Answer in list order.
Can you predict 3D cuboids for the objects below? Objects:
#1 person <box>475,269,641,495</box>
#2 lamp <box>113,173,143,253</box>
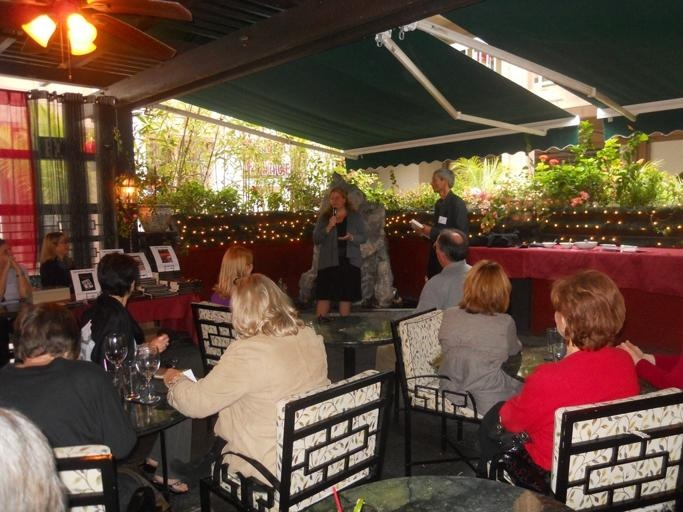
[{"bbox_3d":[0.934,0.529,2.152,0.509,0.918,0.347,-4,8,-24],"label":"person"},{"bbox_3d":[-2.934,-0.606,6.984,0.314,1.030,0.279,-2,7,-12],"label":"lamp"}]
